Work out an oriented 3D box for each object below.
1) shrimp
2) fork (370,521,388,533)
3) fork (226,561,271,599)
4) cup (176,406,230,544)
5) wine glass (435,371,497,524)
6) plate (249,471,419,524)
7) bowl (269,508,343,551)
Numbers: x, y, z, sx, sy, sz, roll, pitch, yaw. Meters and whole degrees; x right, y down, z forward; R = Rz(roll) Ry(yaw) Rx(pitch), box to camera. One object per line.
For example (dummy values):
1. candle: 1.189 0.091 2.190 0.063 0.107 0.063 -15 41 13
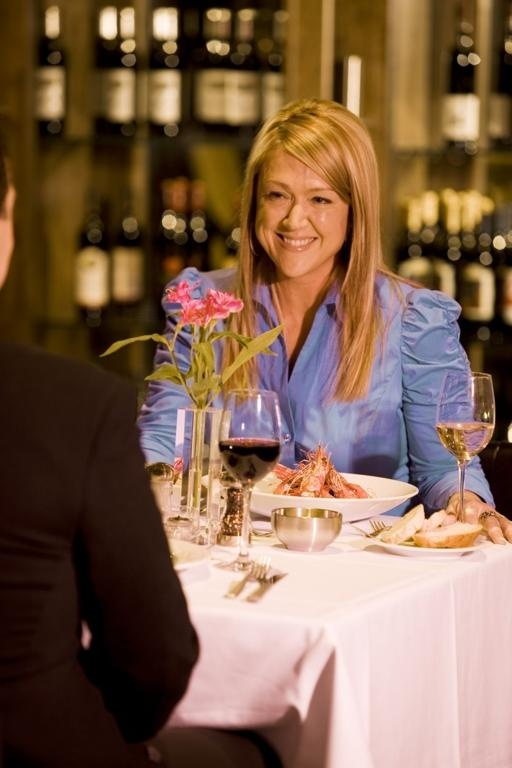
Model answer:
1. shrimp: 0.097 0.135 1.132 0.131 0.091 0.100 -1 5 -36
2. fork: 0.182 0.213 1.080 0.014 0.003 0.028 7 26 0
3. fork: -0.011 0.208 0.779 0.014 0.012 0.096 -2 3 16
4. cup: -0.077 0.104 1.002 0.037 0.080 0.036 2 -37 1
5. wine glass: 0.292 0.102 1.018 0.077 0.239 0.075 1 5 -13
6. plate: 0.085 0.155 1.113 0.267 0.083 0.180 -2 3 -37
7. bowl: 0.066 0.187 0.975 0.104 0.047 0.102 0 6 0
